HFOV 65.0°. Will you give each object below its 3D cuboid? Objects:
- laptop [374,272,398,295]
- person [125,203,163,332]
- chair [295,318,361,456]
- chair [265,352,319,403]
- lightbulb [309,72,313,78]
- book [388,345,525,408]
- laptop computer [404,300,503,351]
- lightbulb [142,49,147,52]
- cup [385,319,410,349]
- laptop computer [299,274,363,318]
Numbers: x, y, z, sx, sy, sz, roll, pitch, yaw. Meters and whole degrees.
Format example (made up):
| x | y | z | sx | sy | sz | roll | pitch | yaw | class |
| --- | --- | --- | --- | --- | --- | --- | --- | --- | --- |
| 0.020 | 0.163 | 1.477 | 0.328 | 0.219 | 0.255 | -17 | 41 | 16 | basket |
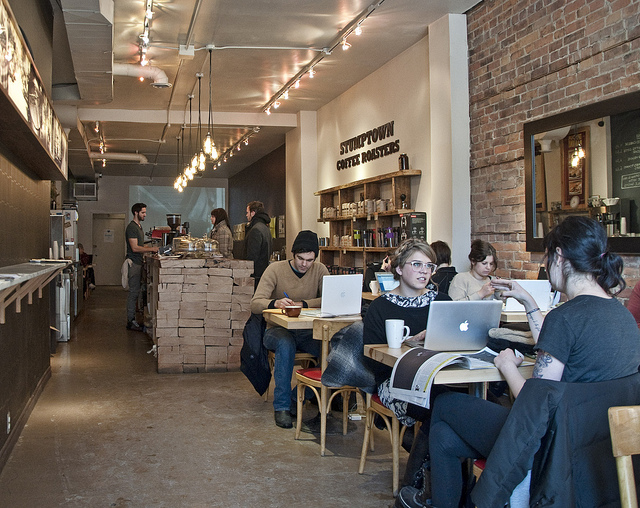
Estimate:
| x | y | z | sx | sy | sz | roll | pitch | yaw | class |
| --- | --- | --- | --- | --- | --- | --- | --- | --- | --- |
| 0.731 | 0.314 | 5.585 | 0.272 | 0.244 | 0.220 | -7 | -6 | -7 | laptop |
| -3.230 | 0.201 | 8.949 | 0.440 | 2.042 | 1.004 | 1 | 0 | -21 | person |
| 0.047 | 0.957 | 3.860 | 0.510 | 0.876 | 0.551 | 0 | -6 | 10 | chair |
| -0.222 | 1.015 | 4.471 | 0.437 | 0.666 | 0.421 | 0 | -1 | 4 | chair |
| -0.124 | -2.618 | 7.337 | 0.073 | 0.030 | 0.122 | -5 | 12 | -5 | lightbulb |
| 0.602 | 0.545 | 2.259 | 0.396 | 0.148 | 0.272 | -2 | 2 | -33 | book |
| 0.714 | 0.358 | 2.466 | 0.452 | 0.269 | 0.158 | 1 | 0 | -22 | laptop computer |
| -2.227 | -2.592 | 6.380 | 0.063 | 0.036 | 0.063 | -3 | -2 | -18 | lightbulb |
| 0.450 | 0.421 | 2.665 | 0.106 | 0.157 | 0.164 | -2 | 5 | -43 | cup |
| 0.080 | 0.297 | 3.814 | 0.276 | 0.308 | 0.369 | 1 | 5 | -34 | laptop computer |
